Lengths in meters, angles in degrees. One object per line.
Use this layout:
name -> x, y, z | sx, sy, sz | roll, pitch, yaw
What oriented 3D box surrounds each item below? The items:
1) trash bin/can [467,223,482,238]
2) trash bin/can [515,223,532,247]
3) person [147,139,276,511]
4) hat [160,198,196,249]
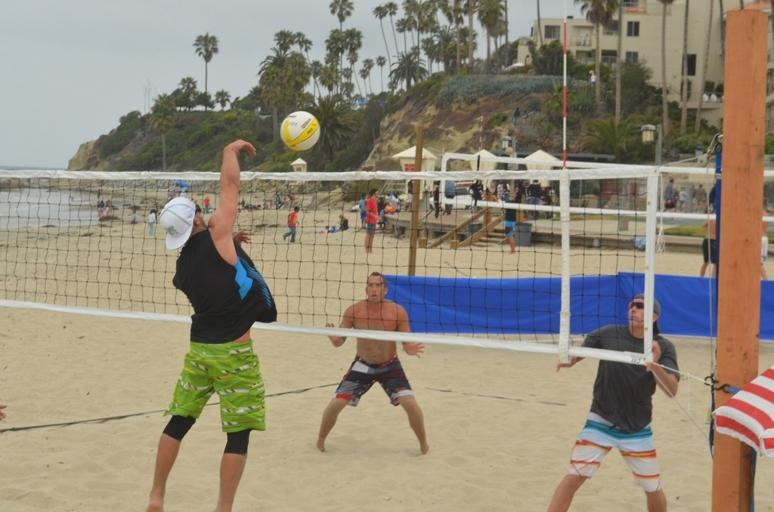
trash bin/can -> 2.472, -0.751, 27.473 | 0.352, 0.254, 0.374 | 2, 2, -6
trash bin/can -> 3.611, -0.603, 25.953 | 0.656, 0.708, 0.579 | -2, 2, -10
person -> -1.989, 0.843, 11.246 | 1.343, 4.306, 0.757 | 0, 4, -8
hat -> -2.420, -0.423, 11.334 | 0.376, 0.596, 0.247 | -7, -26, 26
